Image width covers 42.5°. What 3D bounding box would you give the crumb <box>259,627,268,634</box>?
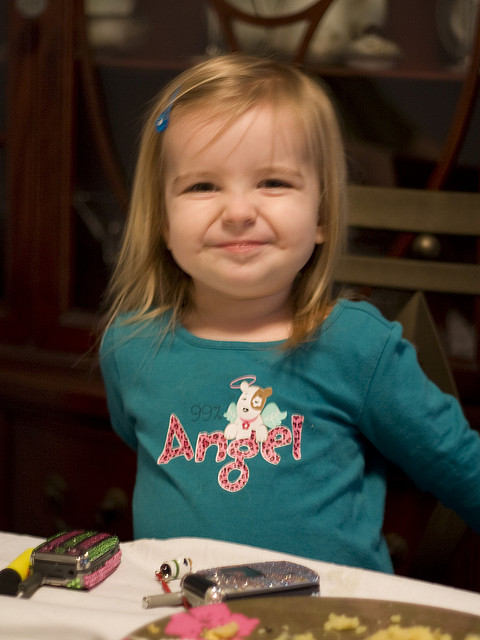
[{"bbox_3d":[0.017,0.217,0.432,0.006,0.002,0.006,1,33,-2],"label":"crumb"}]

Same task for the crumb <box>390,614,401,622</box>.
[{"bbox_3d":[0.116,0.222,0.460,0.008,0.003,0.007,5,33,5],"label":"crumb"}]

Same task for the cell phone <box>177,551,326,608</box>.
[{"bbox_3d":[0.021,0.220,0.549,0.101,0.018,0.059,-1,8,-35],"label":"cell phone"}]
